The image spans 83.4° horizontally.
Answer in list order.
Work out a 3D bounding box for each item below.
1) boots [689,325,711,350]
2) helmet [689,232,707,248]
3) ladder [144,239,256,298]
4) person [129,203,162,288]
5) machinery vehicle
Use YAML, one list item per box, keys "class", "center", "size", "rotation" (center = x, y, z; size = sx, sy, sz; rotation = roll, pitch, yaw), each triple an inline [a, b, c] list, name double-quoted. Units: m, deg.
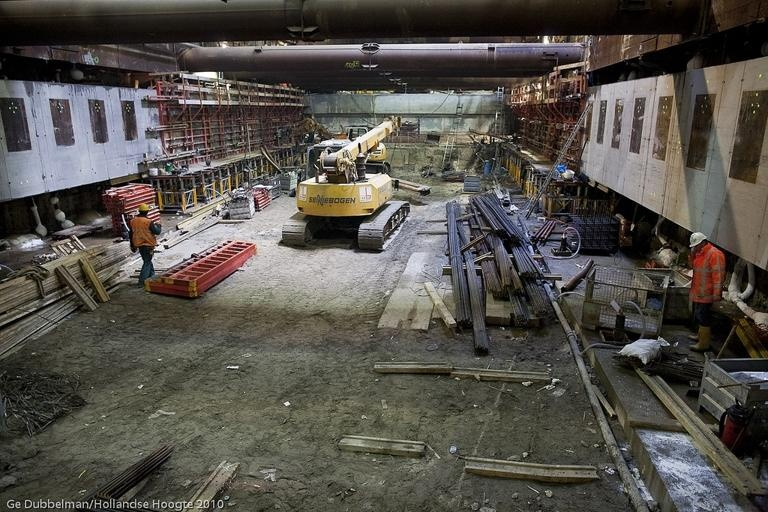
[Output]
- class: "boots"
  center: [6.218, 1.641, 8.548]
  size: [0.386, 0.409, 0.468]
  rotation: [5, 11, 25]
- class: "helmet"
  center: [6.141, -0.299, 8.500]
  size: [0.327, 0.197, 0.443]
  rotation: [-38, -2, 39]
- class: "ladder"
  center: [-5.165, 0.371, 12.713]
  size: [1.162, 0.476, 2.558]
  rotation: [8, 20, 13]
- class: "person"
  center: [-6.619, -0.323, 12.041]
  size: [0.775, 2.231, 0.956]
  rotation: [-12, 22, -28]
- class: "machinery vehicle"
  center: [-0.944, -3.423, 18.010]
  size: [4.132, 4.263, 7.369]
  rotation: [6, 20, 16]
